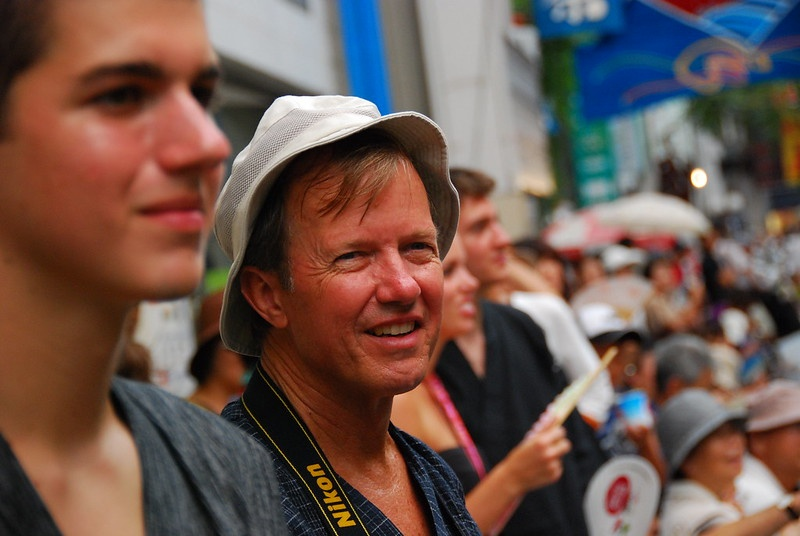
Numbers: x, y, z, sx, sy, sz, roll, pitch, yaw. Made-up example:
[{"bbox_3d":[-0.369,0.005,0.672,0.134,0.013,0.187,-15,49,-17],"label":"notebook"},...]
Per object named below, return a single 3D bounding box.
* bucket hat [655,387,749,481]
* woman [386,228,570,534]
[{"bbox_3d":[1.348,0.737,4.780,0.285,0.148,0.402,-24,-14,-48],"label":"bucket hat"},{"bbox_3d":[0.270,0.521,4.519,0.805,1.185,0.461,6,-25,-30],"label":"woman"}]
